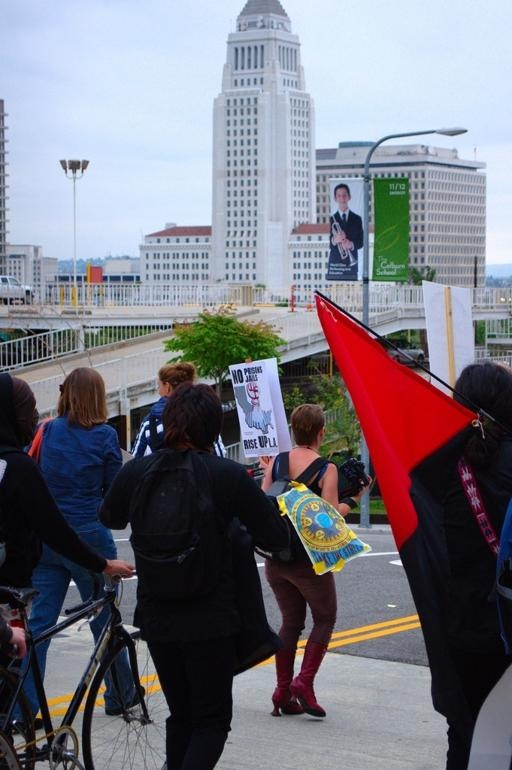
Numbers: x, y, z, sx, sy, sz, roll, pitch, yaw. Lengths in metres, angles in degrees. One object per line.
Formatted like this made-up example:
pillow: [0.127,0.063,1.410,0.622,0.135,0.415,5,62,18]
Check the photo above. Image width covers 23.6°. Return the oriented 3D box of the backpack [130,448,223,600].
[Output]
backpack: [-0.290,0.475,4.247,0.300,0.518,0.264,1,6,27]

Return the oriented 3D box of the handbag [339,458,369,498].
handbag: [0.502,0.463,6.296,0.172,0.187,0.071,-24,7,29]

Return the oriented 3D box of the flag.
flag: [0.542,0.412,4.311,0.683,1.391,0.227,1,-3,43]

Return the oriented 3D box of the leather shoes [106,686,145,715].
leather shoes: [-0.530,1.289,4.985,0.102,0.158,0.054,-5,27,-23]

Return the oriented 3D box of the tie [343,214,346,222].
tie: [1.397,-2.678,19.378,0.019,0.112,0.089,5,-3,-41]
